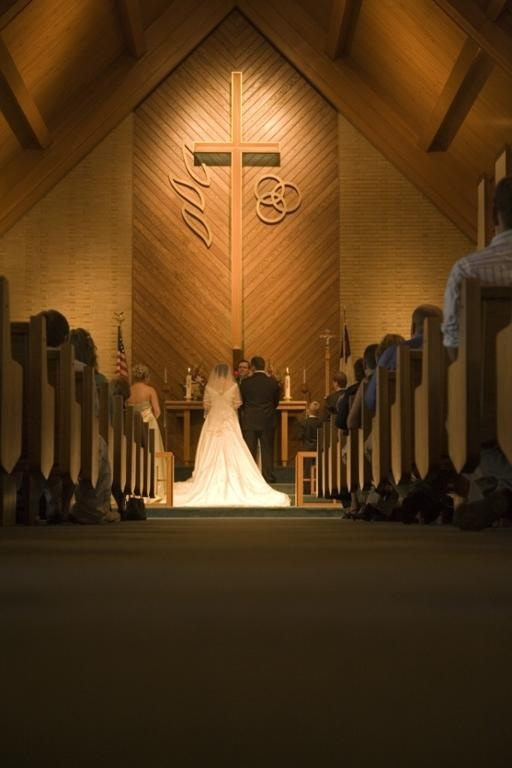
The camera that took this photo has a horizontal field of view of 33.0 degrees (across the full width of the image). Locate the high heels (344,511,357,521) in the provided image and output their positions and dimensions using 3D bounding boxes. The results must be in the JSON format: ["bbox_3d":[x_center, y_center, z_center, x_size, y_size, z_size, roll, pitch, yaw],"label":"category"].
[{"bbox_3d":[0.565,0.793,5.108,0.046,0.066,0.153,-2,-15,1],"label":"high heels"}]
